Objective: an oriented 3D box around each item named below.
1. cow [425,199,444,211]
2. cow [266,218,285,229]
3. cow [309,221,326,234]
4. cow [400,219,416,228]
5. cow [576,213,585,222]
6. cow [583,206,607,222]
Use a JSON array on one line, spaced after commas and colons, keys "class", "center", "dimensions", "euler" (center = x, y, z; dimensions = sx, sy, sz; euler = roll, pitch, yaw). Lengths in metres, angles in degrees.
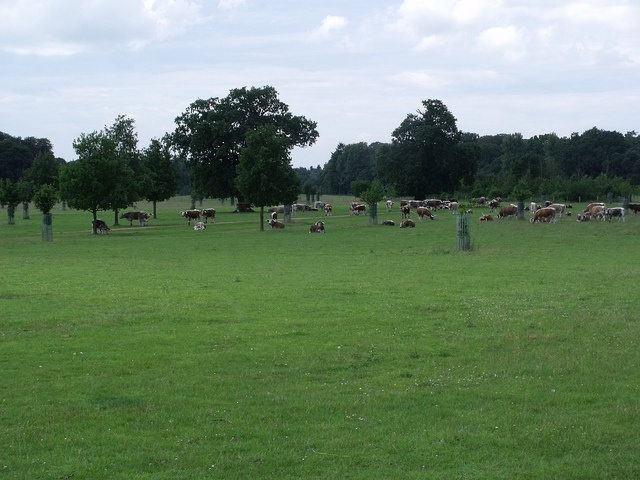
[{"class": "cow", "center": [12.082, -3.686, 90.331], "dimensions": [2.740, 1.398, 0.887], "euler": [-4, 12, -11]}, {"class": "cow", "center": [-3.371, -1.191, 65.911], "dimensions": [1.268, 0.670, 0.615], "euler": [5, -1, -17]}, {"class": "cow", "center": [-0.099, -0.849, 60.143], "dimensions": [0.646, 0.556, 1.184], "euler": [2, 7, 7]}, {"class": "cow", "center": [6.445, -1.142, 61.184], "dimensions": [1.300, 0.701, 0.471], "euler": [3, 2, 11]}, {"class": "cow", "center": [18.469, -1.537, 60.548], "dimensions": [0.388, 0.616, 1.456], "euler": [8, 11, 32]}, {"class": "cow", "center": [20.019, -1.952, 62.149], "dimensions": [1.343, 0.962, 2.778], "euler": [2, 2, 18]}]
